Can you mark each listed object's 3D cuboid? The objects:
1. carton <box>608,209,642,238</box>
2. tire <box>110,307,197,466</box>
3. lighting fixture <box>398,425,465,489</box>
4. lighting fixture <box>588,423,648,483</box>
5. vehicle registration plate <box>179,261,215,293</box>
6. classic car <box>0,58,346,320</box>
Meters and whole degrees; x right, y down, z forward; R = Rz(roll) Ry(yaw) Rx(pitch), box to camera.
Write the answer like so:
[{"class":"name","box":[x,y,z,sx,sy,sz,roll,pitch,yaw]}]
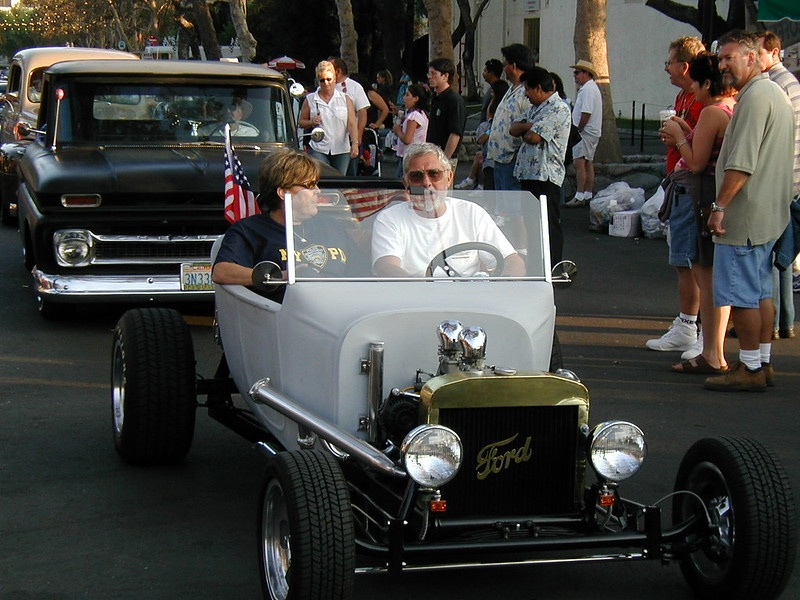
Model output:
[{"class":"carton","box":[3.207,-1.101,13.727,0.408,0.358,0.622,7,10,37]},{"class":"tire","box":[-1.437,0.530,5.582,0.279,0.654,0.664,-3,53,-7]},{"class":"lighting fixture","box":[0.138,0.665,4.041,0.264,0.284,0.087,4,1,-18]},{"class":"lighting fixture","box":[0.961,0.658,4.257,0.255,0.272,0.104,-2,13,-4]},{"class":"vehicle registration plate","box":[-1.747,-0.203,8.219,0.256,0.204,0.035,0,3,-6]},{"class":"classic car","box":[-2.658,-1.247,9.764,2.004,1.596,3.404,-2,8,-16]}]
